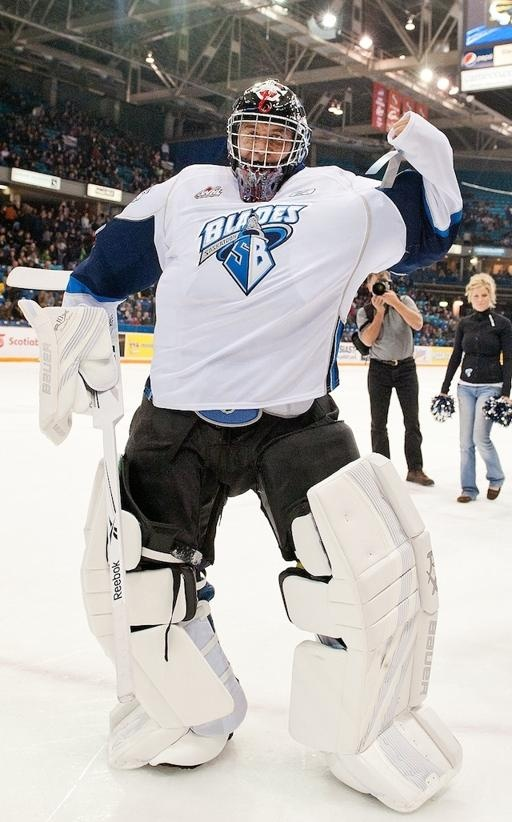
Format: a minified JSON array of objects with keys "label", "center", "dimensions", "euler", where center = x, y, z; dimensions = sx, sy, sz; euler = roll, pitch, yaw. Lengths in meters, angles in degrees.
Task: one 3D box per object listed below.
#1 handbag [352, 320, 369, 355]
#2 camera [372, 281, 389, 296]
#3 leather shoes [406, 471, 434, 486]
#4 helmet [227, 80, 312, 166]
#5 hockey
[{"label":"handbag","center":[0.752,-0.571,5.382],"dimensions":[0.171,0.212,0.181],"euler":[0,-19,24]},{"label":"camera","center":[0.870,-0.861,4.931],"dimensions":[0.108,0.107,0.118],"euler":[13,7,25]},{"label":"leather shoes","center":[1.234,0.513,5.314],"dimensions":[0.082,0.101,0.232],"euler":[-3,3,-33]},{"label":"helmet","center":[0.041,-0.657,1.545],"dimensions":[0.172,0.174,0.223],"euler":[14,35,13]},{"label":"hockey","center":[-0.369,0.187,1.417],"dimensions":[0.242,0.807,0.211],"euler":[2,2,-22]}]
